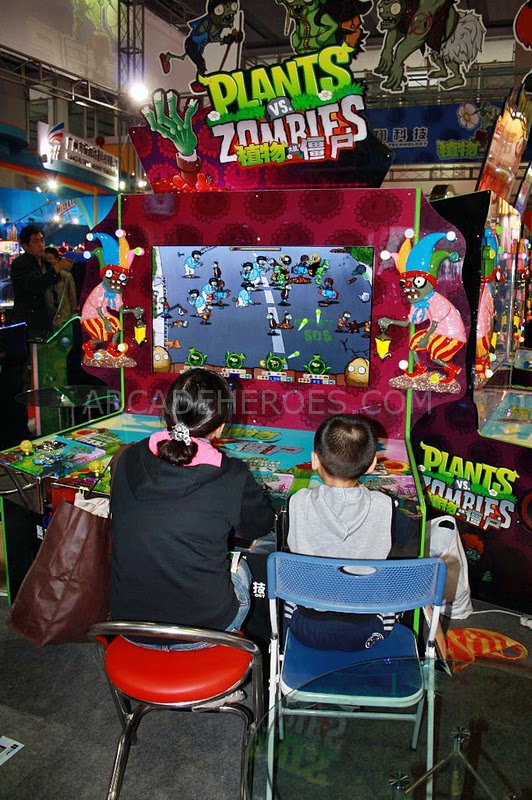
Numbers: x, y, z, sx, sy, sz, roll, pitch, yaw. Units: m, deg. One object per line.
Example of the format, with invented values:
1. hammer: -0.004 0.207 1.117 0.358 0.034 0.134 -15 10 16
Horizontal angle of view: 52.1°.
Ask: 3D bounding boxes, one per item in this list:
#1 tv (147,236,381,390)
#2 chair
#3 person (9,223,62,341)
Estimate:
1. tv: 0.031 -0.357 2.140 0.680 0.392 0.013 5 15 15
2. chair: 0.015 0.634 1.215 0.669 0.522 0.311 2 10 -1
3. person: -1.916 -0.965 4.531 0.353 0.879 0.285 -2 7 -22
